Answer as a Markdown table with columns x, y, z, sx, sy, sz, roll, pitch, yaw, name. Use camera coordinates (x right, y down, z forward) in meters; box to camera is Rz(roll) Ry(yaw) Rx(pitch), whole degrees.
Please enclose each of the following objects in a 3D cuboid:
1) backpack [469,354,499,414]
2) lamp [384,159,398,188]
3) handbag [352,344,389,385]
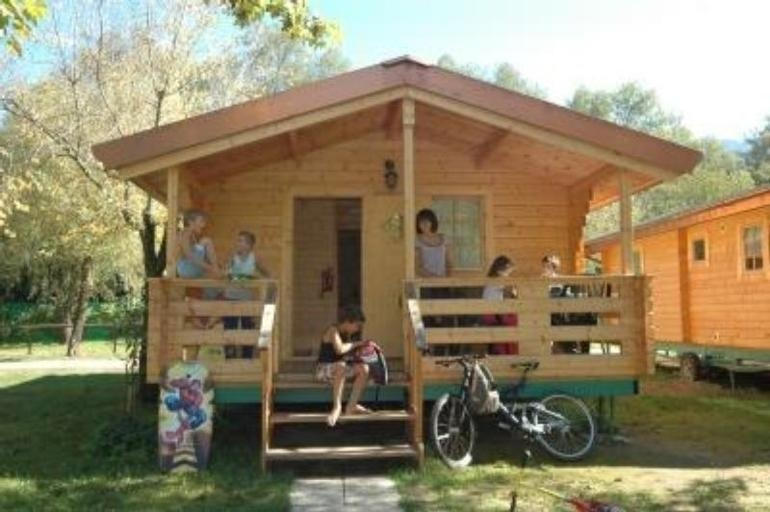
| x | y | z | sx | sy | sz | roll | pitch | yaw | name |
| --- | --- | --- | --- | --- | --- | --- | --- | --- | --- |
| 1.676 | 2.253 | 12.628 | 0.503 | 0.923 | 0.313 | -5 | 8 | -34 | backpack |
| 0.131 | -1.694 | 15.742 | 0.299 | 0.612 | 0.172 | 0 | 6 | 0 | lamp |
| -0.247 | 1.847 | 12.904 | 0.619 | 0.751 | 0.225 | -1 | 6 | -1 | handbag |
